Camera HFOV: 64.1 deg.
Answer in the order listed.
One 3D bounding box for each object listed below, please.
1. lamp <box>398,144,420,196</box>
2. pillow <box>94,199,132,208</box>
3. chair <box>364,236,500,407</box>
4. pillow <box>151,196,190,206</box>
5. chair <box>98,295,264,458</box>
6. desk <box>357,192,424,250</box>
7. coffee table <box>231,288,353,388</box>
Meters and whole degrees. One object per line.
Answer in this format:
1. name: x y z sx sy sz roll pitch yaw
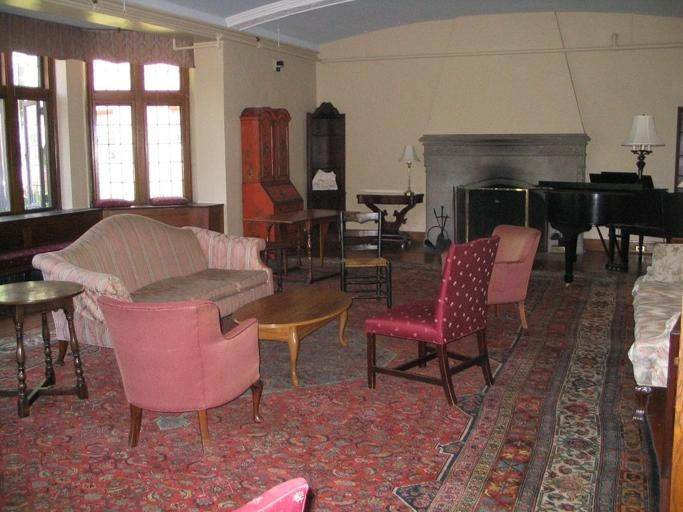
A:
1. lamp: 1.289 -1.631 10.306 0.370 0.947 0.731 1 13 6
2. pillow: -3.531 -0.814 8.457 0.477 0.125 0.121 -7 14 -27
3. chair: 0.789 0.360 4.759 1.203 1.667 1.154 6 11 32
4. pillow: -2.724 -0.879 8.683 0.558 0.118 0.255 -5 13 -22
5. chair: -0.960 0.605 3.598 0.828 1.045 1.005 5 13 21
6. desk: 0.955 -0.706 10.516 1.183 0.979 1.039 3 8 15
7. coffee table: -0.464 0.486 4.481 0.688 0.377 1.071 4 11 28
